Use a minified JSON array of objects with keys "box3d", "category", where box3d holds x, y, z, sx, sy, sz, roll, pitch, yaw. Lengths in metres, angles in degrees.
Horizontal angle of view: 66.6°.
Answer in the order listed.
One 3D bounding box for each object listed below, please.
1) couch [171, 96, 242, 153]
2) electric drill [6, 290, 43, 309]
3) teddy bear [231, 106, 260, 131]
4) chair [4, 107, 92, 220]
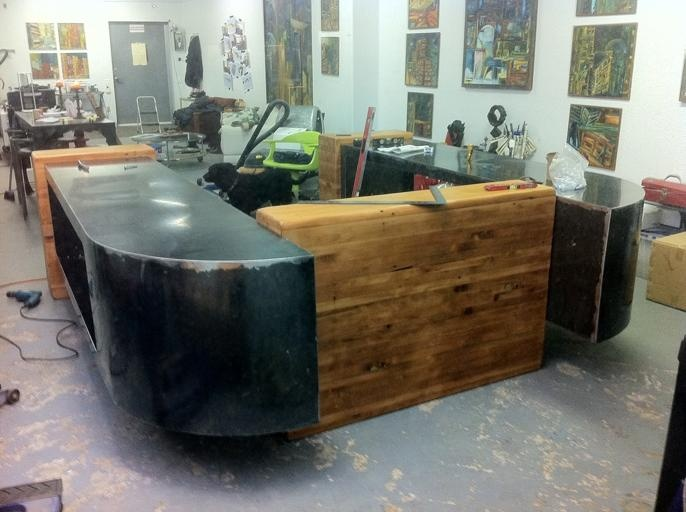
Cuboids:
[{"box3d":[-2.366,-2.287,9.117,1.058,1.015,0.531,-6,20,-17],"category":"couch"},{"box3d":[-2.314,0.299,3.818,0.166,0.059,0.165,7,13,-12],"category":"electric drill"},{"box3d":[-1.555,-2.244,8.451,0.472,0.327,0.636,-2,19,-8],"category":"teddy bear"},{"box3d":[-3.953,-1.317,6.913,1.031,1.054,2.471,-11,22,-30],"category":"chair"}]
